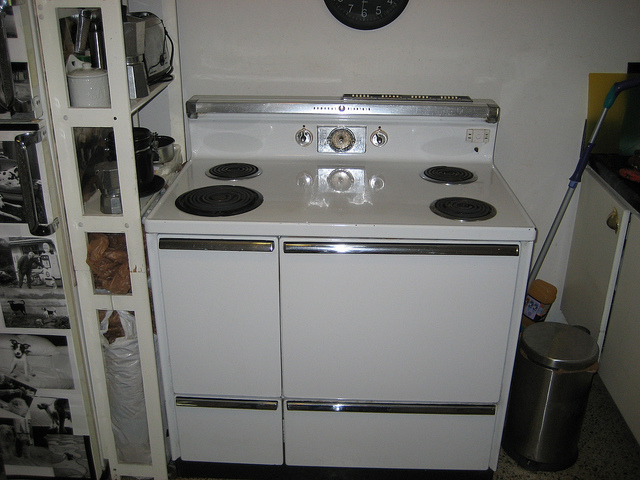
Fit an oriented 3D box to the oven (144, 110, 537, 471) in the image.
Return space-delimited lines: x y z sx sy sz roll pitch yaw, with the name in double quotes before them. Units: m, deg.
"oven" 0.069 0.269 2.119 1.326 1.425 0.773 1 22 1
